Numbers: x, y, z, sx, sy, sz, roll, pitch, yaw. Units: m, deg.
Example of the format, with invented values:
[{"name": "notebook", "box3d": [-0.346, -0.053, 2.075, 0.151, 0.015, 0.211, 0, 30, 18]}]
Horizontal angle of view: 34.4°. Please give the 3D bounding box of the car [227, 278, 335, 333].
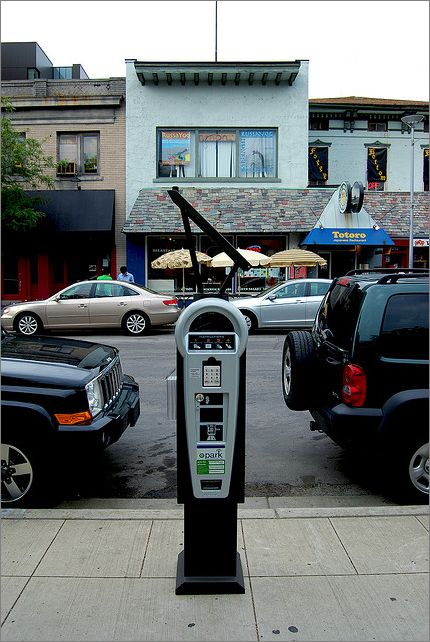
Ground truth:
[{"name": "car", "box3d": [1.468, -0.340, 15.370, 2.229, 0.962, 1.023, 1, 1, -2]}]
